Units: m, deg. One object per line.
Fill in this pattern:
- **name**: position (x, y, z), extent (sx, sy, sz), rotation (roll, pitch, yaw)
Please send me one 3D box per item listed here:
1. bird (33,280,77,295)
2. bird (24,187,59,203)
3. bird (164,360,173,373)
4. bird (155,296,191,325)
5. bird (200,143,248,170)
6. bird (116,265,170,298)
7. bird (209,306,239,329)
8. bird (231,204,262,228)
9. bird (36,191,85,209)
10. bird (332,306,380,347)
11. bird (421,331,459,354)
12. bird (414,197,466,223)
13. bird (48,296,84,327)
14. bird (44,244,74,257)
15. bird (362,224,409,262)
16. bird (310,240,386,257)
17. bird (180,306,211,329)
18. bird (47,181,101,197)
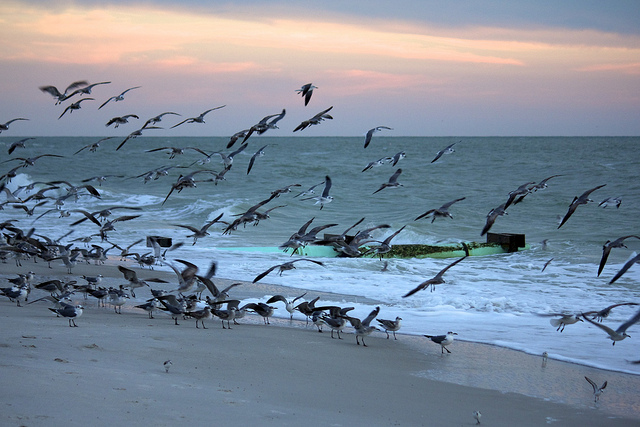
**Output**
- **bird**: position (-7.643, 2.124, 22.869), extent (0.779, 0.184, 0.582), rotation (3, -1, 2)
- **bird**: position (-10.012, -0.541, 28.222), extent (0.853, 0.241, 1.220), rotation (-5, 0, -38)
- **bird**: position (-3.522, 3.553, 18.455), extent (0.295, 0.143, 0.274), rotation (1, 49, -8)
- **bird**: position (-4.172, 2.692, 22.171), extent (1.278, 0.591, 0.384), rotation (27, 31, 13)
- **bird**: position (-3.097, -1.791, 27.319), extent (2.241, 0.487, 0.880), rotation (-1, 22, -2)
- **bird**: position (-5.594, 2.102, 24.181), extent (1.758, 0.500, 1.044), rotation (26, 39, 17)
- **bird**: position (-2.710, 2.917, 22.305), extent (0.747, 0.529, 0.789), rotation (6, 12, -2)
- **bird**: position (-2.414, 0.053, 27.112), extent (1.056, 0.317, 1.174), rotation (16, 5, -1)
- **bird**: position (-9.702, -0.574, 29.646), extent (1.762, 0.335, 0.583), rotation (-2, 27, -3)
- **bird**: position (1.272, 3.170, 21.802), extent (1.377, 0.653, 1.803), rotation (2, 1, 29)
- **bird**: position (3.330, 3.468, 21.553), extent (0.753, 0.589, 0.881), rotation (9, 12, 9)
- **bird**: position (6.340, -0.099, 41.304), extent (2.594, 0.503, 1.589), rotation (-15, 12, -36)
- **bird**: position (-6.646, 2.565, 21.012), extent (1.412, 0.515, 0.382), rotation (9, 20, 28)
- **bird**: position (-8.952, 1.342, 27.490), extent (0.811, 0.259, 0.864), rotation (9, -1, -17)
- **bird**: position (2.875, 1.317, 33.829), extent (2.360, 0.592, 1.040), rotation (-25, 27, -20)
- **bird**: position (0.826, 1.137, 26.437), extent (1.990, 0.198, 1.018), rotation (0, 6, -36)
- **bird**: position (-3.330, 2.878, 22.141), extent (0.795, 0.564, 0.681), rotation (9, 13, 10)
- **bird**: position (-8.154, -0.843, 26.976), extent (2.030, 0.289, 0.899), rotation (9, 8, 0)
